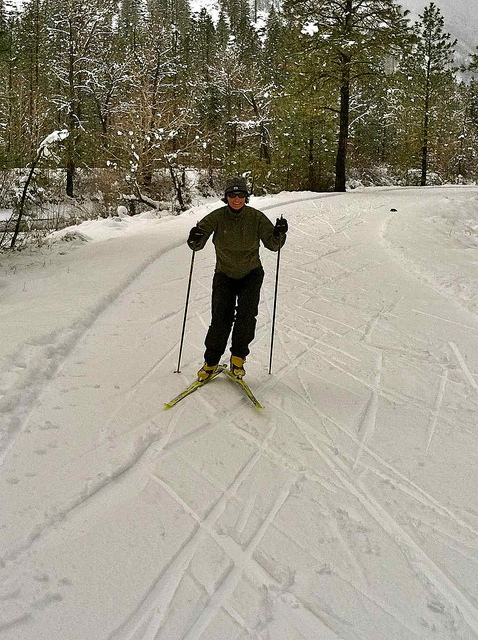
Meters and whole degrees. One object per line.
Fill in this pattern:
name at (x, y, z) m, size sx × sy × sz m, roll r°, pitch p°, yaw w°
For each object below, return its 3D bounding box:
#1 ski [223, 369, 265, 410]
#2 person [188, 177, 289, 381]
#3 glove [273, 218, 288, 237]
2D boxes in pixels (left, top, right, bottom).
ski at (0.042, 0.611, 4.098) m, size 0.113 × 0.134 × 0.726 m, roll -32°, pitch 29°, yaw -3°
person at (-0.027, -0.342, 4.111) m, size 0.866 × 1.851 × 0.334 m, roll -1°, pitch 13°, yaw -9°
glove at (0.382, -0.823, 4.004) m, size 0.099 × 0.151 × 0.218 m, roll 13°, pitch 18°, yaw 42°
